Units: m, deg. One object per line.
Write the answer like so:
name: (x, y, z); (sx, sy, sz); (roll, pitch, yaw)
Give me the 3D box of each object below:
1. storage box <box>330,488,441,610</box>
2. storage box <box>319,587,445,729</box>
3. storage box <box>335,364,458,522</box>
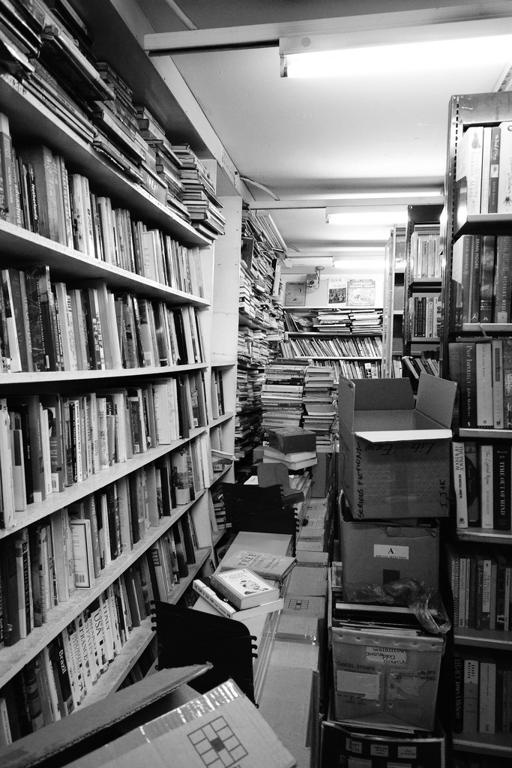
storage box: (0.376, 0.481, 1.643); (0.201, 0.250, 0.142); (0, 7, 6)
storage box: (0.330, 0.707, 1.657); (0.380, 0.452, 0.257); (1, 0, 9)
storage box: (0.418, 0.015, 1.831); (0.292, 0.495, 0.625); (0, 4, 6)
